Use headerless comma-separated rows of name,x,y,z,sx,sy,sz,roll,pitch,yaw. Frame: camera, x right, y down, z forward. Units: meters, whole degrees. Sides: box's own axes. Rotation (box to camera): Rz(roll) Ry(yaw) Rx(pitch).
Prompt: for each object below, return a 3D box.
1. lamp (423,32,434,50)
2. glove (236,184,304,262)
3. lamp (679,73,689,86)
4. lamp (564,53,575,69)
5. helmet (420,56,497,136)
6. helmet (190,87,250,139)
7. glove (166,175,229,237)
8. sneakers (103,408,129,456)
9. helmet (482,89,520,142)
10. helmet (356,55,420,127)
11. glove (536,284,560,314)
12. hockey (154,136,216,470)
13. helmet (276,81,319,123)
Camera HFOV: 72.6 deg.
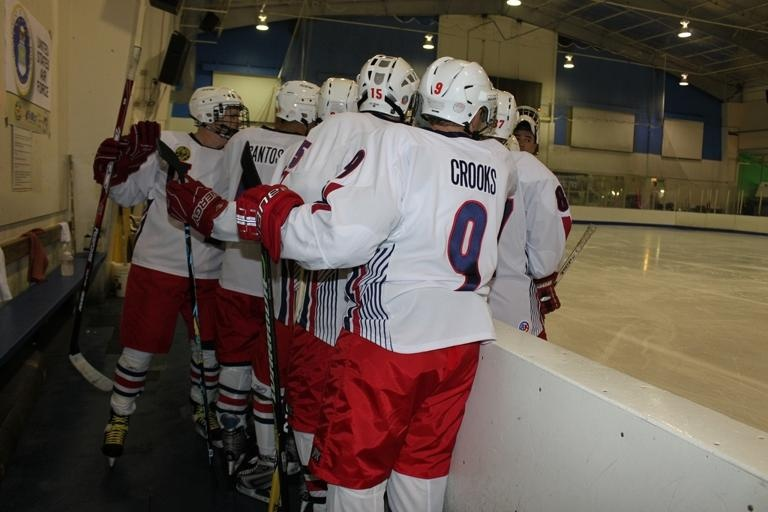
lamp,1.266,-6.134,15.059,0.339,0.451,0.386,4,15,10
glove,-0.462,-0.142,2.107,0.282,0.278,0.130,9,12,27
lamp,10.540,-6.213,18.612,0.332,0.444,0.353,-3,-13,36
lamp,6.038,-6.372,17.251,0.334,0.403,0.374,0,0,-5
helmet,0.352,-0.750,2.474,0.321,0.387,0.377,6,23,3
helmet,-1.102,-0.963,3.515,0.328,0.367,0.294,4,16,10
glove,-0.848,-0.178,2.430,0.373,0.143,0.225,39,8,35
sneakers,-1.622,1.090,3.270,0.106,0.151,0.323,29,8,-26
helmet,0.675,-0.901,3.353,0.291,0.326,0.249,0,10,-3
helmet,0.028,-0.825,2.700,0.286,0.420,0.409,10,12,12
glove,1.069,0.290,3.490,0.177,0.215,0.067,-2,1,-34
hockey,-1.132,0.246,3.212,0.098,2.568,0.333,-2,5,16
helmet,-0.555,-1.013,3.500,0.312,0.287,0.260,9,8,-6
